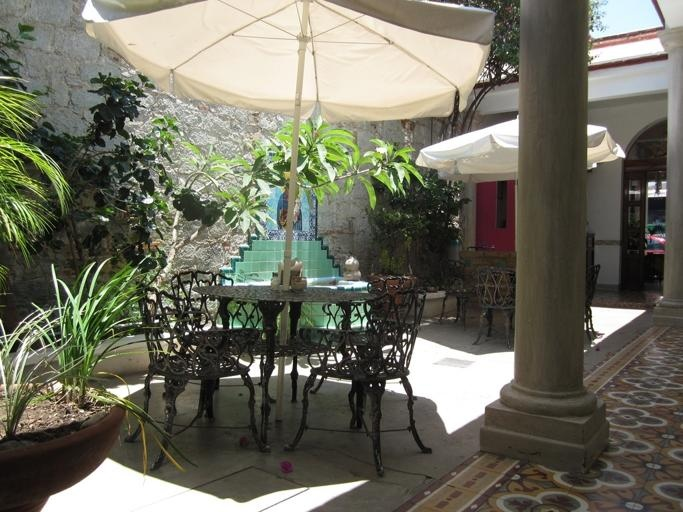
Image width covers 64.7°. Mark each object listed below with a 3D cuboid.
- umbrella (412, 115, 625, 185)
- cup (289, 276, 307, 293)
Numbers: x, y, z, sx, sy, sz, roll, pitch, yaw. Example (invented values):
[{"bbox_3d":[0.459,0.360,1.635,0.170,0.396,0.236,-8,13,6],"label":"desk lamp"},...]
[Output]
[{"bbox_3d":[2.164,-1.316,6.816,1.948,0.610,1.916,-4,9,-1],"label":"umbrella"},{"bbox_3d":[-0.329,0.210,4.125,0.121,0.094,0.113,0,-5,0],"label":"cup"}]
